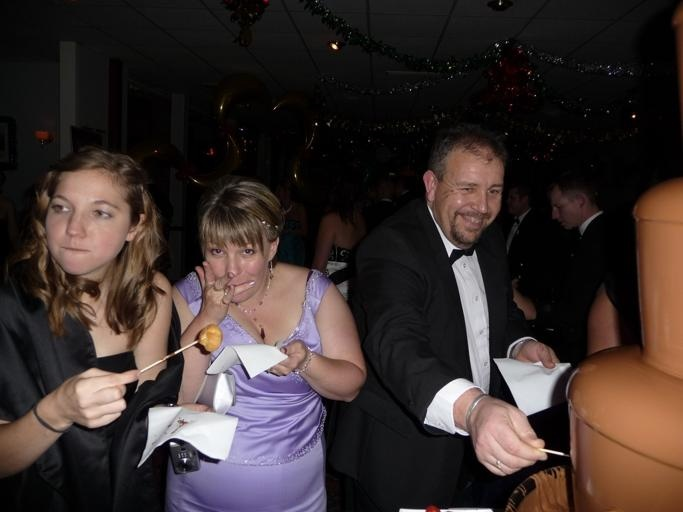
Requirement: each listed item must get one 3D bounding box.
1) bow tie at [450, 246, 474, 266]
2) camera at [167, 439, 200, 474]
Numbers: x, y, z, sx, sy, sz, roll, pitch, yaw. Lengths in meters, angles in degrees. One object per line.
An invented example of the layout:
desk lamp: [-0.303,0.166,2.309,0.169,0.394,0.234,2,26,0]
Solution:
bow tie: [0.588,0.014,2.620,0.104,0.040,0.106,-12,24,8]
camera: [-0.634,0.795,2.127,0.108,0.043,0.149,0,52,-37]
